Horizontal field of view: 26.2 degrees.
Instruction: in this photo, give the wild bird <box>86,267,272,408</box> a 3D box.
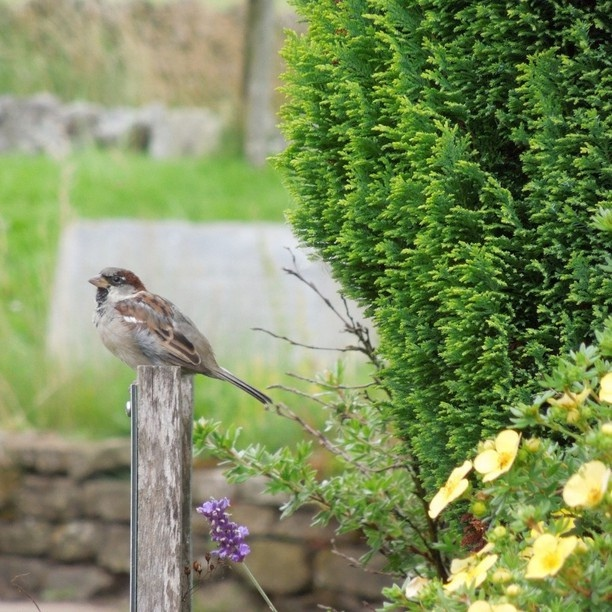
[{"bbox_3d":[-0.666,0.085,5.988,1.229,0.535,0.423,10,4,7],"label":"wild bird"}]
